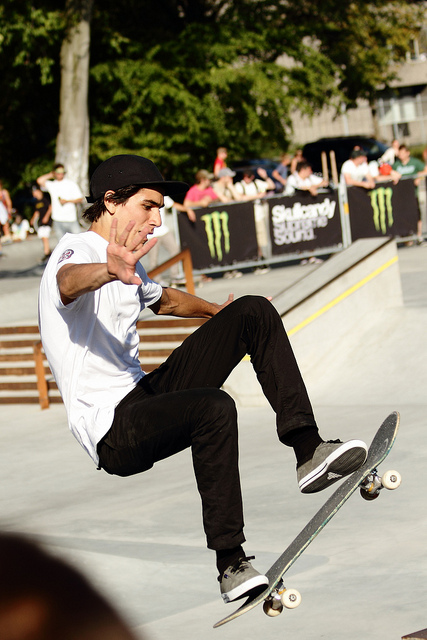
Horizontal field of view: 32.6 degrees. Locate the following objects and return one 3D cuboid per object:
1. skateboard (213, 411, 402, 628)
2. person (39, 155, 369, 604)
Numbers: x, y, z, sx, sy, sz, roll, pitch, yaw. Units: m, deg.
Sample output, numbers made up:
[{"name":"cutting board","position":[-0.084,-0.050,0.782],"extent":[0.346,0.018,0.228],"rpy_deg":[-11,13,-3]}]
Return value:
[{"name":"skateboard","position":[0.394,0.843,2.972],"extent":[0.972,0.162,0.229],"rpy_deg":[-46,4,-1]},{"name":"person","position":[-0.088,0.153,2.471],"extent":[0.806,1.307,0.737],"rpy_deg":[-12,4,-35]}]
